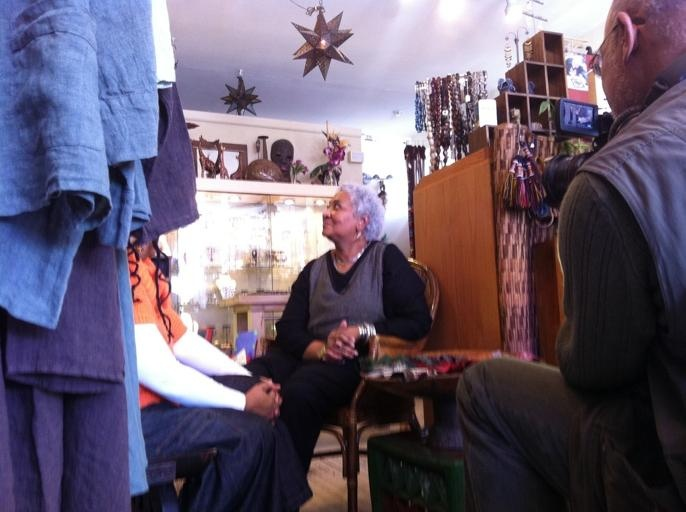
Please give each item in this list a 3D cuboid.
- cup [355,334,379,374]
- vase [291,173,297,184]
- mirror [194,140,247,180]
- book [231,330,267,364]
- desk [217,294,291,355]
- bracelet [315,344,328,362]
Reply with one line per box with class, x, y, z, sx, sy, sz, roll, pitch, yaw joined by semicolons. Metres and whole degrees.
cup;0.099;0.391;2.179;0.113;0.140;0.073;1;-9;-25
vase;-0.404;-0.634;4.521;0.049;0.104;0.063;-5;-30;-3
mirror;-0.965;-0.772;4.431;0.493;0.364;0.379;-3;-1;-25
book;-0.623;0.551;3.519;0.194;0.218;0.332;16;-12;-22
desk;-0.646;0.511;4.005;0.390;0.443;0.399;6;-11;-32
bracelet;-0.096;0.431;2.429;0.042;0.071;0.066;3;11;5
